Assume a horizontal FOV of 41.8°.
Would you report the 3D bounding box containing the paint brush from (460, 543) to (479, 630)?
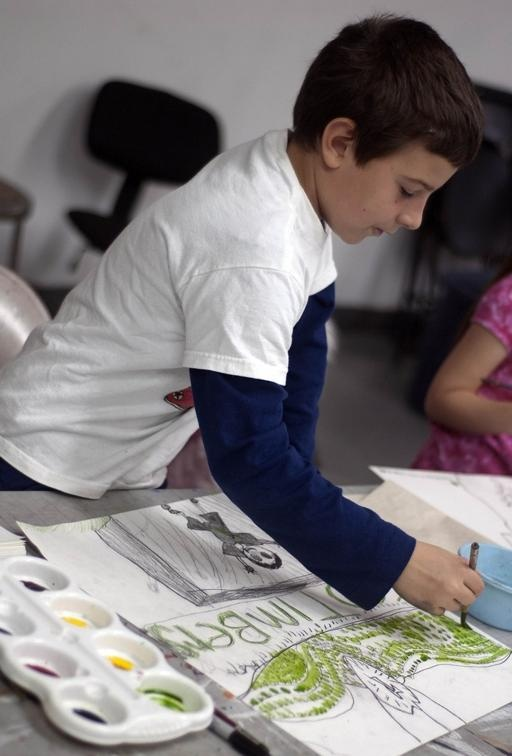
[{"bbox_3d":[0.191,0.191,0.599,0.009,0.075,0.010,23,28,38],"label":"paint brush"}]
